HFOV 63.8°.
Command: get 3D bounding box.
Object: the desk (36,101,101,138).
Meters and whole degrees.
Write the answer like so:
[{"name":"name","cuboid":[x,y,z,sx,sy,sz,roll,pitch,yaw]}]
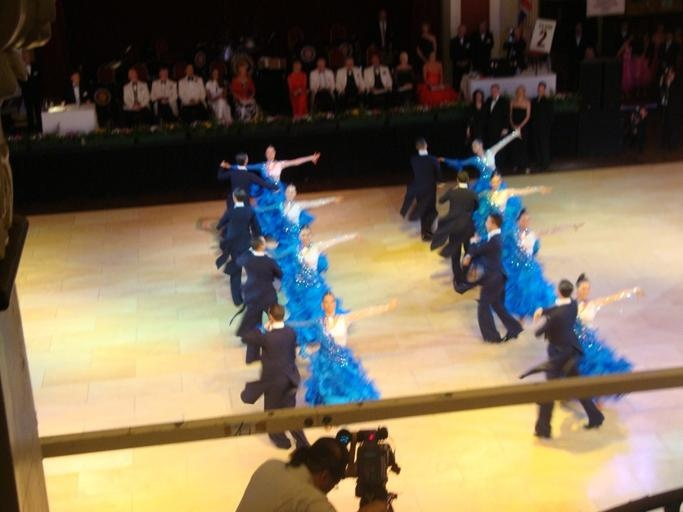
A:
[{"name":"desk","cuboid":[-6.598,-3.287,13.368,0.938,0.664,0.972,7,23,28]}]
